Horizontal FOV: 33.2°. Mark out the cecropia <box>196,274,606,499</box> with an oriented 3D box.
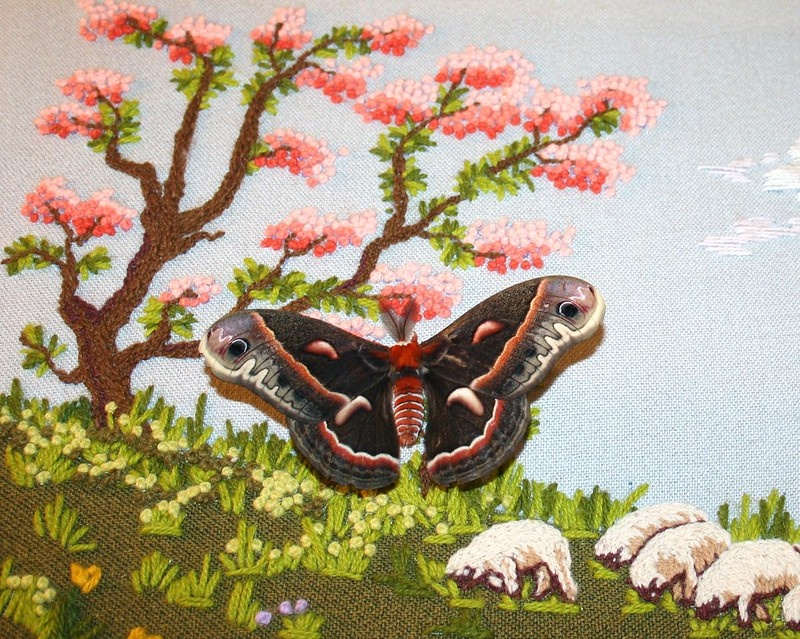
[{"bbox_3d":[0.022,0.144,2.771,0.866,0.401,0.156,-7,-14,19],"label":"cecropia"}]
